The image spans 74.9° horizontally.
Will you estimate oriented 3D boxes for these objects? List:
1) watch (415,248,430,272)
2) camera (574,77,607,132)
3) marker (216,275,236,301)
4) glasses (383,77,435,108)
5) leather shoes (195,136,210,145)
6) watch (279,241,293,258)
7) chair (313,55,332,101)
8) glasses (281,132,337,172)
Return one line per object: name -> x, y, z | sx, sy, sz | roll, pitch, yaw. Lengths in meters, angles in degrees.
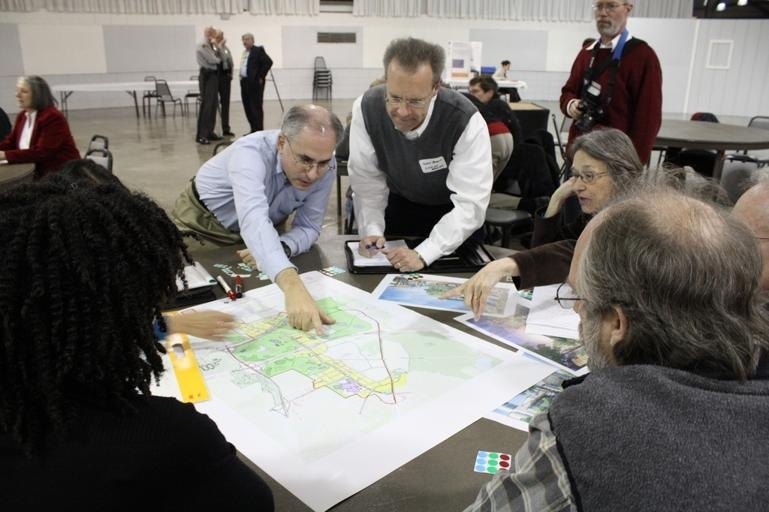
watch -> 0.165, 0.025, 2.022 | 0.065, 0.015, 0.061 | 31, 19, -35
camera -> 1.561, -1.117, 3.587 | 0.143, 0.331, 0.337 | 13, 45, 29
marker -> -0.586, 0.105, 1.791 | 0.032, 0.037, 0.210 | 29, 11, -39
glasses -> 0.117, -0.698, 2.191 | 0.212, 0.108, 0.099 | 0, 21, 2
leather shoes -> -2.974, -1.860, 8.062 | 0.229, 0.089, 0.126 | 30, 48, 34
watch -> -0.423, -0.024, 2.091 | 0.054, 0.069, 0.029 | -6, -15, -5
chair -> -1.661, -4.667, 13.279 | 0.656, 1.109, 0.420 | -8, 22, -16
glasses -> -0.309, -0.441, 2.085 | 0.162, 0.143, 0.187 | -6, 20, -28
